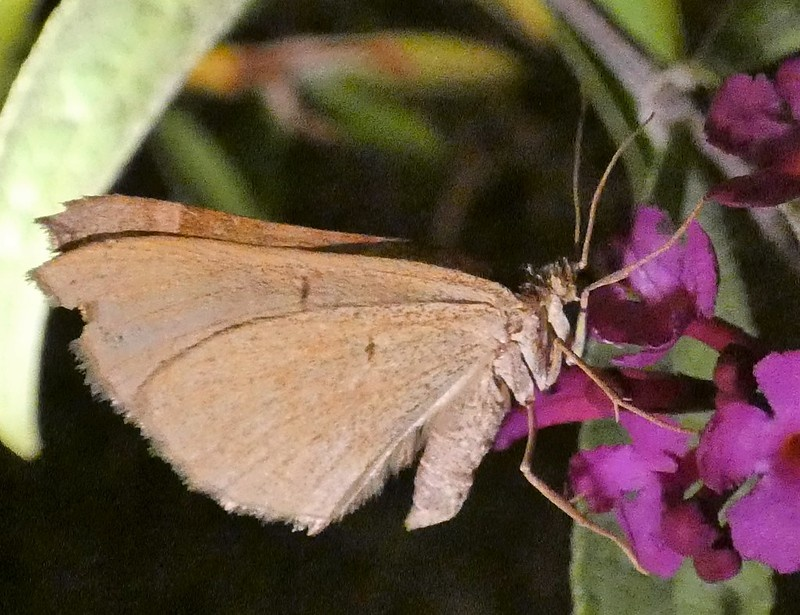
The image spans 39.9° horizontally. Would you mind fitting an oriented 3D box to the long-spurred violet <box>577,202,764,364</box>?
[{"bbox_3d":[0.349,-0.002,1.440,0.203,0.101,0.187,41,81,6],"label":"long-spurred violet"}]
